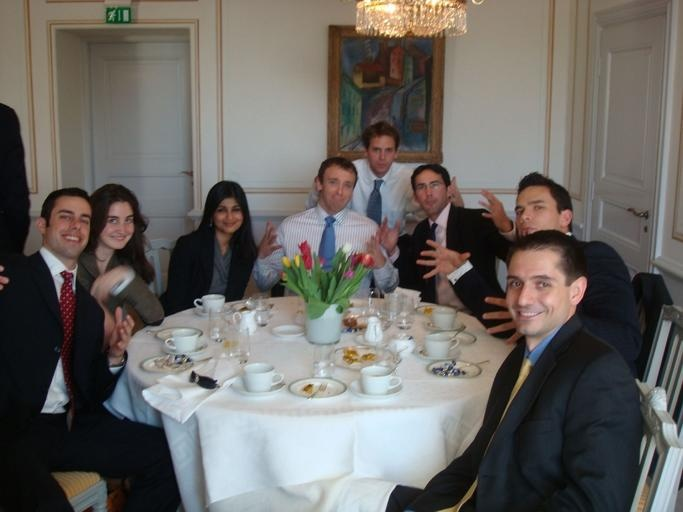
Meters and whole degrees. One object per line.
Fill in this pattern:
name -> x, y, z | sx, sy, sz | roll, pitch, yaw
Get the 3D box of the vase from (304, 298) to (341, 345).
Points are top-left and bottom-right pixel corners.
vase -> -0.078, 0.291, 2.292 | 0.154, 0.189, 0.160 | -3, 13, -21

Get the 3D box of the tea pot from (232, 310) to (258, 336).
tea pot -> -0.429, 0.305, 2.271 | 0.126, 0.125, 0.081 | -3, 7, -39

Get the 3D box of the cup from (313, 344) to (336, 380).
cup -> -0.068, 0.408, 1.926 | 0.083, 0.151, 0.085 | 2, 15, -1

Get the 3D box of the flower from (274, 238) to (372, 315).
flower -> -0.087, 0.107, 2.332 | 0.336, 0.272, 0.320 | 3, -2, -11

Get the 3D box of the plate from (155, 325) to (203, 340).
plate -> -0.778, 0.351, 2.338 | 0.113, 0.018, 0.112 | -9, 17, -43

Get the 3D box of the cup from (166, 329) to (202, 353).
cup -> -0.664, 0.354, 2.150 | 0.089, 0.067, 0.120 | 13, 20, 29

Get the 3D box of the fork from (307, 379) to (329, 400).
fork -> -0.080, 0.484, 1.820 | 0.021, 0.020, 0.162 | 25, 13, 7

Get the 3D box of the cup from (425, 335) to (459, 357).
cup -> 0.414, 0.361, 2.132 | 0.106, 0.078, 0.091 | 4, 9, 23

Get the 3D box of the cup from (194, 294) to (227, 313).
cup -> -0.687, 0.253, 2.644 | 0.148, 0.095, 0.121 | 3, 11, 13

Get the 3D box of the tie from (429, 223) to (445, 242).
tie -> 0.680, -0.167, 3.557 | 0.111, 0.126, 0.040 | 9, 7, 28

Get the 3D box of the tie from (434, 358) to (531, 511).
tie -> 0.451, 0.589, 1.606 | 0.058, 0.524, 0.040 | 35, -21, -12

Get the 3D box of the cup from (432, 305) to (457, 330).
cup -> 0.499, 0.302, 2.470 | 0.107, 0.085, 0.090 | 3, 1, -17

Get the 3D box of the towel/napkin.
towel/napkin -> -0.521, 0.447, 1.870 | 0.177, 0.047, 0.307 | 15, 21, 23

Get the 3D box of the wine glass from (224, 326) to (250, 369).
wine glass -> -0.431, 0.370, 2.059 | 0.117, 0.150, 0.130 | 3, 13, 9
